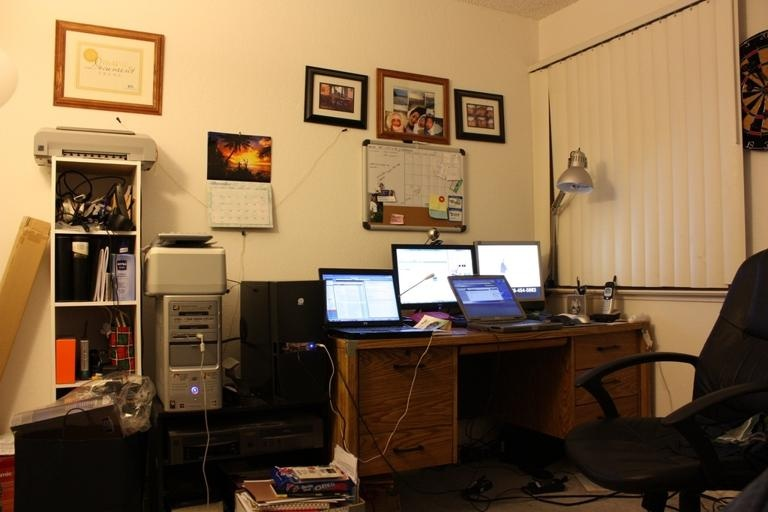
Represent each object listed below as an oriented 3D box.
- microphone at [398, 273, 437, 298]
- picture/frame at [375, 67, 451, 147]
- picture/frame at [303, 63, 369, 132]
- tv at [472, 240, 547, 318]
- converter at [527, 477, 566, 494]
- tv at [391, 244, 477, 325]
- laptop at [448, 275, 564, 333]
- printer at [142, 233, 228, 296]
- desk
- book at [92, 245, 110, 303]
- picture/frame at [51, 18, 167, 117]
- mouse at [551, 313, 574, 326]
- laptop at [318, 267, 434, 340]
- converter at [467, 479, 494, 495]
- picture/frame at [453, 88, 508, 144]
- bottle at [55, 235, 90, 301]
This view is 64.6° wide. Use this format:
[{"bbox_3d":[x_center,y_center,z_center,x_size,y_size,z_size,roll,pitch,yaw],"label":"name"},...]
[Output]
[{"bbox_3d":[0.201,0.184,3.851,0.240,0.034,0.034,-33,-9,-16],"label":"microphone"},{"bbox_3d":[0.173,-1.023,4.154,0.623,0.505,0.046,0,-1,-25],"label":"picture/frame"},{"bbox_3d":[-0.334,-1.031,3.948,0.491,0.397,0.035,2,-3,-25],"label":"picture/frame"},{"bbox_3d":[0.804,0.152,3.946,0.511,0.481,0.049,-1,-4,-10],"label":"tv"},{"bbox_3d":[0.977,1.381,3.648,0.150,0.052,0.104,1,-4,19],"label":"converter"},{"bbox_3d":[0.293,0.189,3.810,0.512,0.420,0.081,1,-20,-23],"label":"tv"},{"bbox_3d":[0.691,0.226,3.550,0.433,0.256,0.411,3,-5,-33],"label":"laptop"},{"bbox_3d":[-1.064,0.025,3.300,0.509,0.286,0.509,3,5,8],"label":"printer"},{"bbox_3d":[0.666,0.778,3.737,1.905,0.701,0.609,-1,-1,-20],"label":"desk"},{"bbox_3d":[-1.518,0.099,3.261,0.094,0.291,0.054,-3,0,-25],"label":"book"},{"bbox_3d":[-1.623,-1.086,3.512,0.644,0.523,0.045,1,2,-20],"label":"picture/frame"},{"bbox_3d":[1.125,0.395,3.801,0.144,0.054,0.050,1,0,-39],"label":"mouse"},{"bbox_3d":[-0.054,0.274,3.453,0.530,0.351,0.452,2,0,-29],"label":"laptop"},{"bbox_3d":[0.573,1.391,3.671,0.111,0.042,0.073,-5,-3,-40],"label":"converter"},{"bbox_3d":[0.674,-1.002,4.342,0.435,0.383,0.033,2,-6,-24],"label":"picture/frame"},{"bbox_3d":[-1.650,0.061,3.242,0.196,0.347,0.105,-3,0,-43],"label":"bottle"}]
